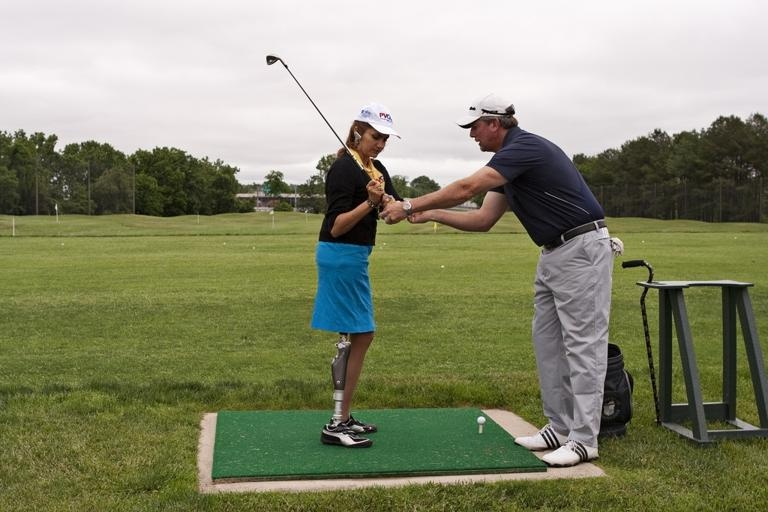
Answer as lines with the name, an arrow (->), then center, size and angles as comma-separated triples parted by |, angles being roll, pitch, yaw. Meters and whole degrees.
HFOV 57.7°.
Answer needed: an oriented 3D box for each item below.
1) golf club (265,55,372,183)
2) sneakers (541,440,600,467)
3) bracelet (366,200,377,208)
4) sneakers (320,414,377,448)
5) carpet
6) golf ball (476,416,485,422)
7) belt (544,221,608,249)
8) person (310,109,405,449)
golf club -> -0.691, -1.424, 6.461 | 0.098, 0.124, 1.332 | 35, -6, 33
sneakers -> 1.698, 1.831, 6.468 | 0.536, 0.190, 0.200 | -1, -10, -18
bracelet -> -0.115, -0.491, 6.551 | 0.066, 0.079, 0.130 | 6, 8, 35
sneakers -> -0.392, 1.695, 6.732 | 0.599, 0.242, 0.208 | 2, -1, 13
carpet -> -0.175, 1.862, 7.115 | 3.262, 0.097, 2.629 | 2, 1, -17
golf ball -> 0.963, 1.635, 6.981 | 0.070, 0.054, 0.071 | 0, -1, 0
belt -> 1.836, -0.135, 6.652 | 0.338, 0.091, 0.357 | -26, -9, -14
person -> -0.270, 0.192, 6.926 | 1.075, 3.307, 1.081 | 1, 3, -16
